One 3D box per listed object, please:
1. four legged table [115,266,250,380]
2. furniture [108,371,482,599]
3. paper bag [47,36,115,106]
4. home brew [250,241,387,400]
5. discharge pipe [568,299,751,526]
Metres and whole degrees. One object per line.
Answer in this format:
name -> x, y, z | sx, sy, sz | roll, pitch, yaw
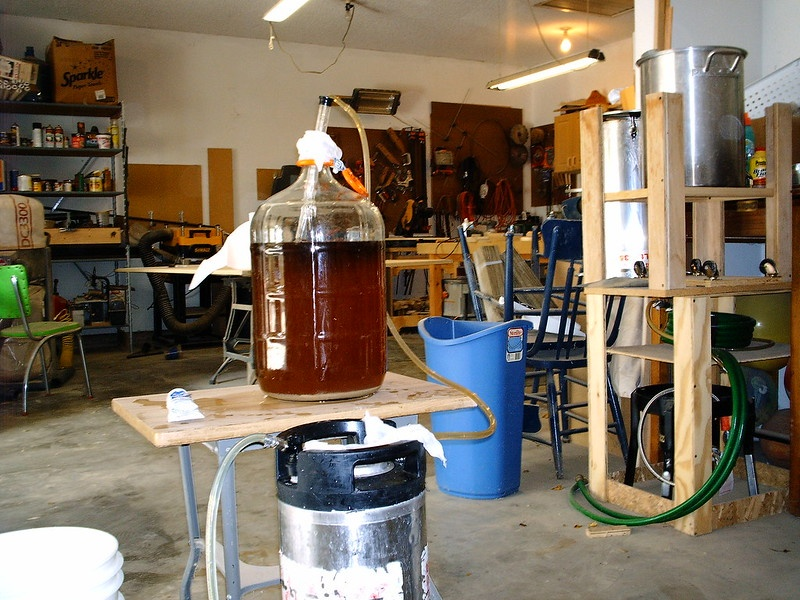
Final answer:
four legged table -> -1.953, 0.224, 6.264 | 1.053, 0.469, 0.571 | 6, 5, 40
furniture -> -0.262, 0.530, 1.865 | 0.922, 0.579, 0.475 | -3, 5, -33
paper bag -> -3.012, -2.186, 6.753 | 0.713, 0.630, 0.687 | -3, 9, -24
home brew -> -0.152, 0.036, 1.627 | 0.357, 0.352, 0.342 | -1, 1, -34
discharge pipe -> 1.072, 0.400, 2.487 | 0.620, 0.726, 0.059 | -17, -46, 42
